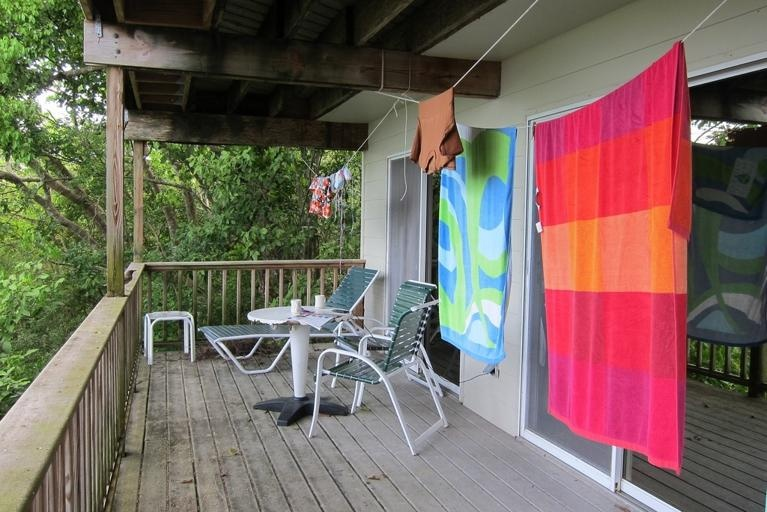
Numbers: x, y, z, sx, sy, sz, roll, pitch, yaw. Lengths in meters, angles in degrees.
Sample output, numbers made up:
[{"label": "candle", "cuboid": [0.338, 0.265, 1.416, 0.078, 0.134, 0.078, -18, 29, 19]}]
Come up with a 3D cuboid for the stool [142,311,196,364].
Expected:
[{"label": "stool", "cuboid": [-2.448, 0.869, 6.510, 0.574, 0.622, 0.601, 0, -5, -12]}]

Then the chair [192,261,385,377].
[{"label": "chair", "cuboid": [-1.010, 0.693, 6.417, 2.088, 1.283, 1.020, 1, 1, -25]}]

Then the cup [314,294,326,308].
[{"label": "cup", "cuboid": [-0.591, 0.430, 5.378, 0.099, 0.120, 0.105, 0, -4, 0]}]

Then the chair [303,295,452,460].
[{"label": "chair", "cuboid": [-0.041, 0.947, 4.929, 0.982, 1.177, 0.731, 3, 5, 30]}]

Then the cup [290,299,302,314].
[{"label": "cup", "cuboid": [-0.781, 0.450, 5.169, 0.105, 0.131, 0.109, 1, 6, 0]}]
